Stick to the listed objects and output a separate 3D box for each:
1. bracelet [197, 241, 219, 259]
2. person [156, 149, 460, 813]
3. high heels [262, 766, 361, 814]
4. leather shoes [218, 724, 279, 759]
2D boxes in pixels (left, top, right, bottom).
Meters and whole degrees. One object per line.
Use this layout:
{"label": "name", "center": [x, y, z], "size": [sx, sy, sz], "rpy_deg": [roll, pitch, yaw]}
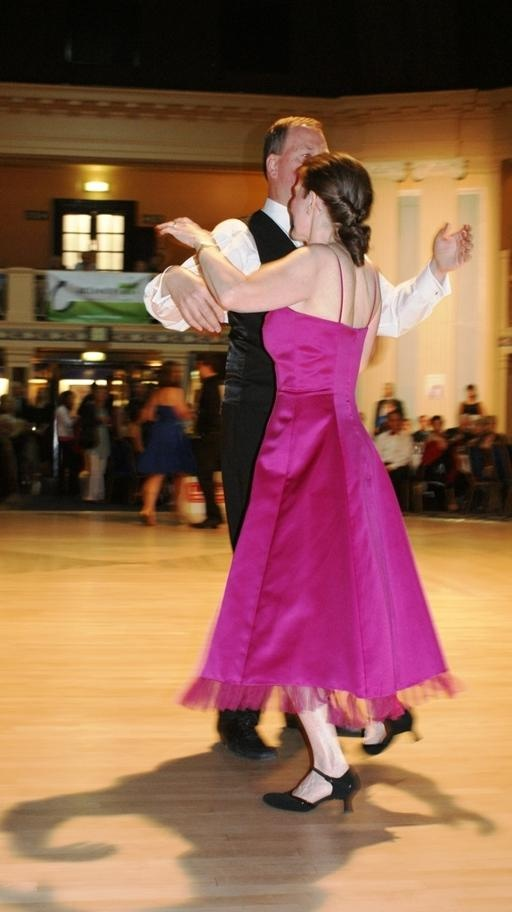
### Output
{"label": "bracelet", "center": [-0.101, -0.412, 1.639], "size": [0.044, 0.017, 0.031], "rpy_deg": [-13, 8, -18]}
{"label": "person", "center": [0.126, 0.066, 1.640], "size": [0.590, 1.344, 0.373], "rpy_deg": [0, 4, -7]}
{"label": "high heels", "center": [0.125, 0.685, 1.698], "size": [0.234, 0.113, 0.082], "rpy_deg": [0, -4, 14]}
{"label": "leather shoes", "center": [-0.026, 0.730, 2.110], "size": [0.059, 0.072, 0.160], "rpy_deg": [2, 0, -44]}
